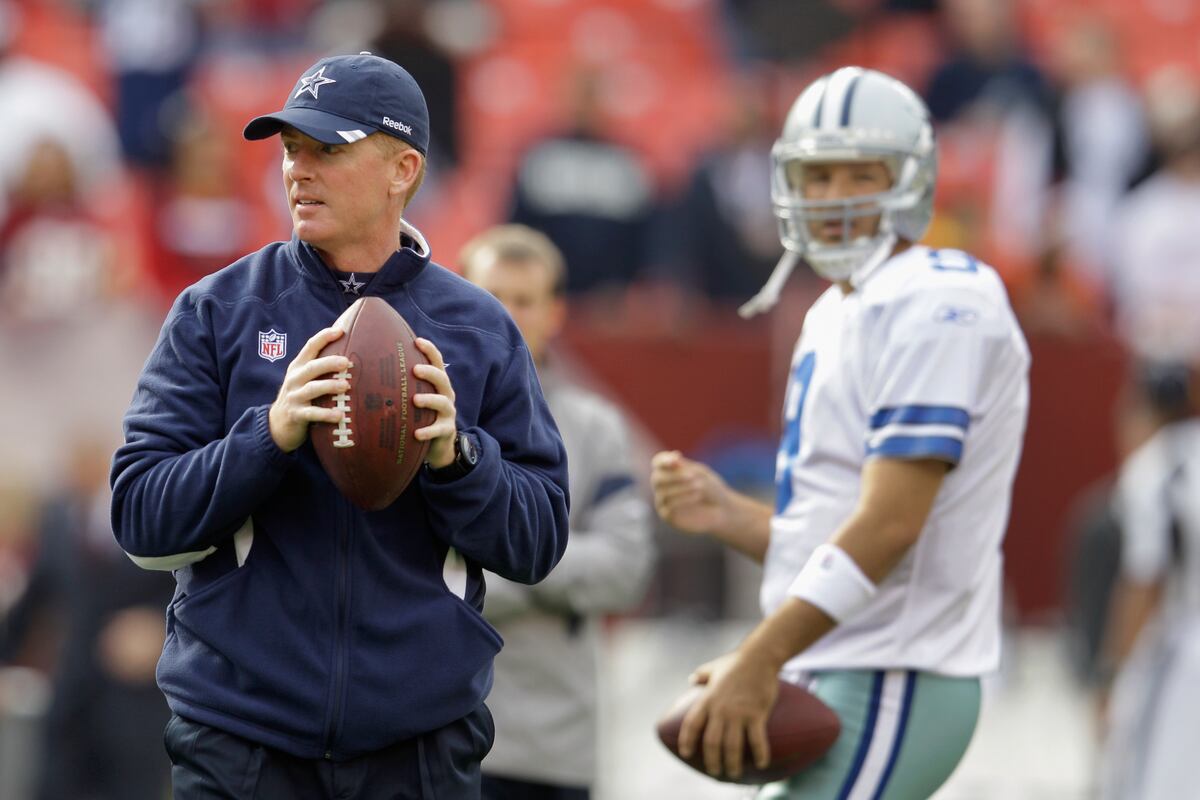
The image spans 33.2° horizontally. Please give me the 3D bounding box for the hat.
[{"bbox_3d":[-0.835,-0.976,6.521,0.607,0.339,0.446,5,2,-45],"label":"hat"}]
